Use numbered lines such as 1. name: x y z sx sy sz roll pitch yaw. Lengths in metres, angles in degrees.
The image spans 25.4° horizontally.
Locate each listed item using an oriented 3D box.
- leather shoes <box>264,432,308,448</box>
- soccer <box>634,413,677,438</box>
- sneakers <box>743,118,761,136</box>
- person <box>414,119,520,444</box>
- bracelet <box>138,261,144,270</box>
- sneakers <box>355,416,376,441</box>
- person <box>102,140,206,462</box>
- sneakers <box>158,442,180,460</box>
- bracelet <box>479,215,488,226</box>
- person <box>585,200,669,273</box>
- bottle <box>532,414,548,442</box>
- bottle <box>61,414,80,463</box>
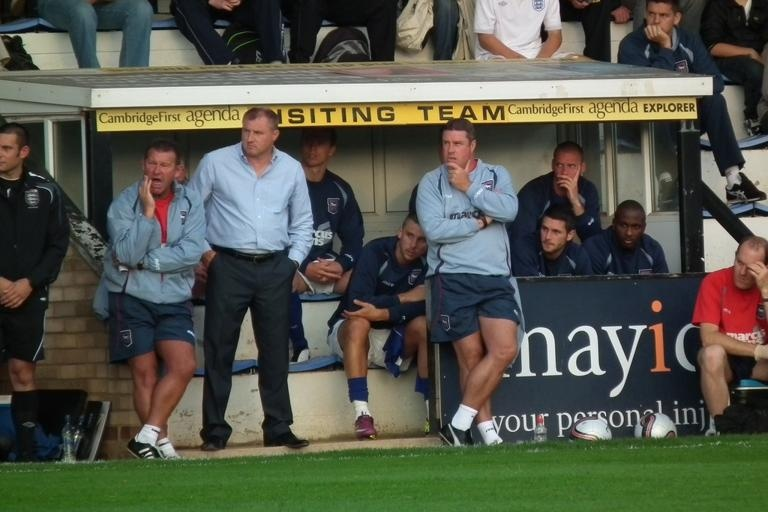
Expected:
1. leather shoes: -0.836 1.584 14.697 0.397 0.157 0.143 -1 1 1
2. soccer: 2.365 1.527 14.864 0.354 0.211 0.556 2 15 8
3. sneakers: 3.820 -1.336 17.774 0.128 0.158 0.170 -11 7 -8
4. person: 0.774 0.240 14.748 0.838 2.743 1.064 -3 15 -8
5. bracelet: -2.085 0.093 14.647 0.078 0.065 0.051 1 1 -5
6. sneakers: -0.157 1.529 15.175 0.178 0.221 0.153 -2 15 -6
7. person: -1.950 0.343 14.650 0.939 2.555 0.909 -13 19 -39
8. sneakers: -1.826 1.679 14.562 0.099 0.115 0.283 -32 14 -32
9. bracelet: 0.868 -0.300 14.774 0.070 0.089 0.033 -5 -8 -28
10. person: 2.248 -0.160 15.819 0.778 0.675 0.356 1 15 5
11. bottle: 1.379 1.525 14.955 0.119 0.201 0.217 1 15 4
12. bottle: -2.711 1.596 14.778 0.159 0.355 0.360 -1 15 -3
